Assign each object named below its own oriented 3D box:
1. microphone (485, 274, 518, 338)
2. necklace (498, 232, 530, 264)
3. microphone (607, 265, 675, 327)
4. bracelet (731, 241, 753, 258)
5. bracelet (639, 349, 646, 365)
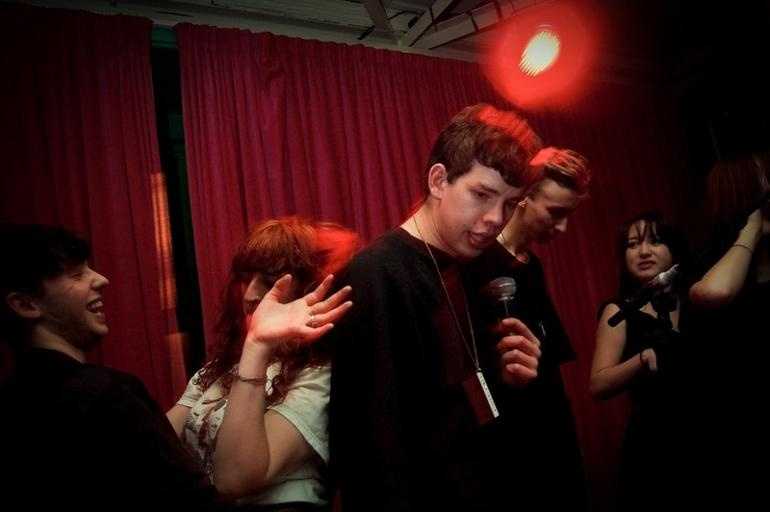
[{"bbox_3d":[0.557,0.219,2.648,0.160,0.061,0.351,-8,20,6],"label":"microphone"},{"bbox_3d":[0.697,-0.030,3.128,0.184,0.043,0.175,37,19,-22],"label":"necklace"},{"bbox_3d":[1.308,0.214,2.863,0.135,0.089,0.366,-3,-32,-39],"label":"microphone"},{"bbox_3d":[1.716,-0.032,2.726,0.078,0.061,0.082,24,-35,17],"label":"bracelet"},{"bbox_3d":[1.299,0.525,2.864,0.038,0.052,0.049,-7,-4,18],"label":"bracelet"}]
